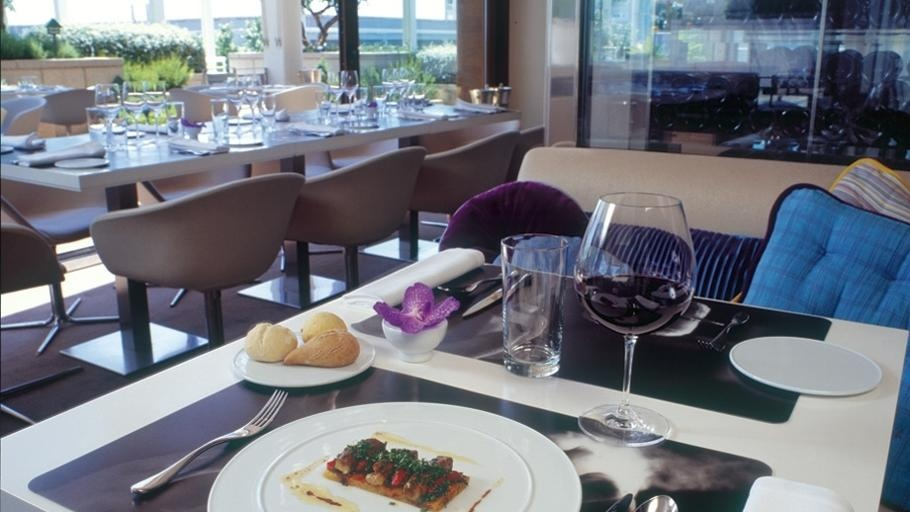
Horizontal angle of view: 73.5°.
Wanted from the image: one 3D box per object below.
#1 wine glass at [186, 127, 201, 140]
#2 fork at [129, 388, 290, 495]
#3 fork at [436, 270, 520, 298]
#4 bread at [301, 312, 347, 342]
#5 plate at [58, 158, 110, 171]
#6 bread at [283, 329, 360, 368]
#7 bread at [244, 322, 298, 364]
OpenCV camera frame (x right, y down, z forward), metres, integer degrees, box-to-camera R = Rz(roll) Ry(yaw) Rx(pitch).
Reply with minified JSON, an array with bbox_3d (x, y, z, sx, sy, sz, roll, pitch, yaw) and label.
[{"bbox_3d":[-1.354,-0.633,3.198,0.073,0.076,0.069,-3,10,-8],"label":"wine glass"},{"bbox_3d":[-0.410,0.316,1.015,0.038,0.045,0.275,12,24,37],"label":"fork"},{"bbox_3d":[0.032,0.057,1.466,0.055,0.034,0.252,5,7,23],"label":"fork"},{"bbox_3d":[-0.257,0.139,1.214,0.069,0.051,0.068,-18,-5,-21],"label":"bread"},{"bbox_3d":[-1.548,-0.375,2.536,0.190,0.027,0.197,-15,23,-34],"label":"plate"},{"bbox_3d":[-0.256,0.180,1.165,0.120,0.047,0.068,-5,19,-2],"label":"bread"},{"bbox_3d":[-0.346,0.158,1.178,0.088,0.051,0.080,-1,15,-31],"label":"bread"}]
